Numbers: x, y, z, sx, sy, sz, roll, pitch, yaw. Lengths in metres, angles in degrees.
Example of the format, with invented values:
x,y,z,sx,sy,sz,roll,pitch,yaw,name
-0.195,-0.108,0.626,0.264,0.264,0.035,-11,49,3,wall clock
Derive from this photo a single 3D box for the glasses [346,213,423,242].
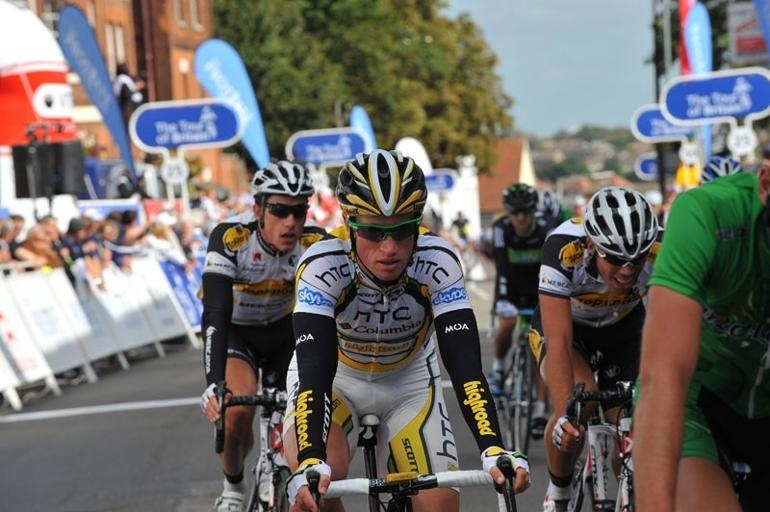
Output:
x,y,z,sx,sy,sz,roll,pitch,yaw,name
-0.005,-0.201,7.812,0.534,0.186,0.153,-3,13,8,glasses
